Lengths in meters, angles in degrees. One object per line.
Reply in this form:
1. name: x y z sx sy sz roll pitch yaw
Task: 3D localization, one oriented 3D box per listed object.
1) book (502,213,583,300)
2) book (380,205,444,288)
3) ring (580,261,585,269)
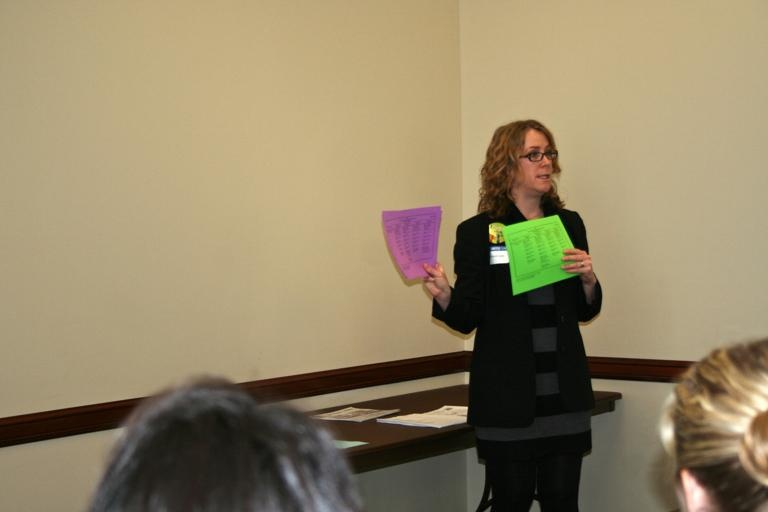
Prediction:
1. book: 0.636 -0.001 2.256 0.317 0.319 0.080 -8 -15 -14
2. book: 0.126 -0.031 2.316 0.276 0.304 0.077 -4 -6 -20
3. ring: 0.836 0.040 2.283 0.014 0.021 0.007 1 -2 -9
